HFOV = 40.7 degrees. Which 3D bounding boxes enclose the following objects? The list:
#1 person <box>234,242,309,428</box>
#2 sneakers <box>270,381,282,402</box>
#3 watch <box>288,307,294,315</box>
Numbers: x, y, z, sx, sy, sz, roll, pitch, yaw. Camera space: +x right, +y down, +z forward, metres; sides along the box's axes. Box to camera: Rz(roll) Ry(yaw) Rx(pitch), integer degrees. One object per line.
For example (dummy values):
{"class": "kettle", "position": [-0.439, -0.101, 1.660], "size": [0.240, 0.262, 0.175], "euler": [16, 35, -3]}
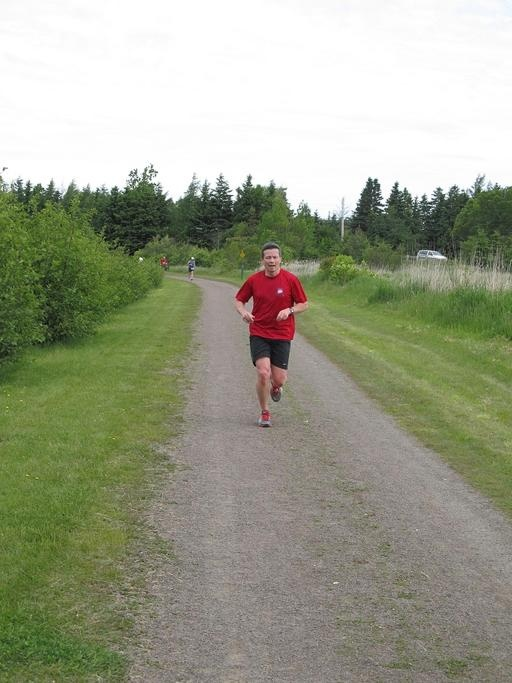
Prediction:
{"class": "person", "position": [0.143, -0.062, 7.756], "size": [0.746, 2.043, 0.760], "euler": [0, 8, -17]}
{"class": "sneakers", "position": [0.252, 0.608, 8.321], "size": [0.106, 0.289, 0.127], "euler": [-3, -21, -1]}
{"class": "watch", "position": [0.390, -0.338, 7.525], "size": [0.044, 0.056, 0.067], "euler": [3, -4, 30]}
